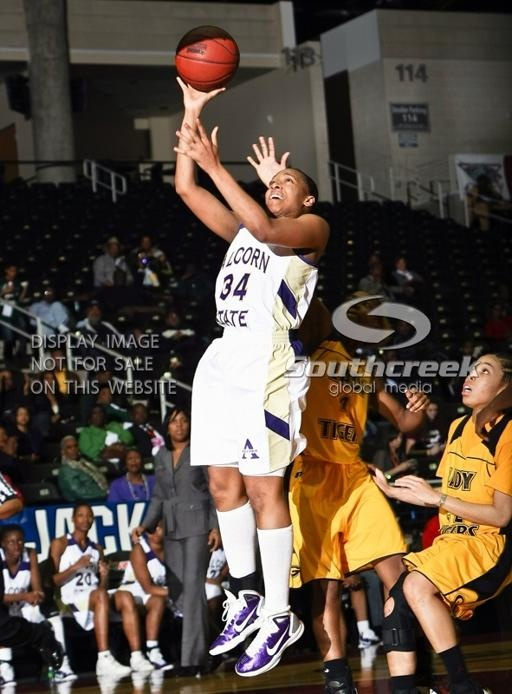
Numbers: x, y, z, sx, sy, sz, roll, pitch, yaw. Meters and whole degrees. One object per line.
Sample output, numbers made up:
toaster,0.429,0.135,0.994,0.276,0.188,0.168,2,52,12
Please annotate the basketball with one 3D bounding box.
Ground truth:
basketball,-0.188,-1.106,2.726,0.230,0.309,0.206,-2,4,-6

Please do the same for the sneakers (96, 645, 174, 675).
sneakers,-0.708,1.841,4.132,0.503,0.163,0.154,-1,-6,-9

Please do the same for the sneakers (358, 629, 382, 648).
sneakers,0.730,1.892,4.590,0.125,0.081,0.092,20,-31,-40
